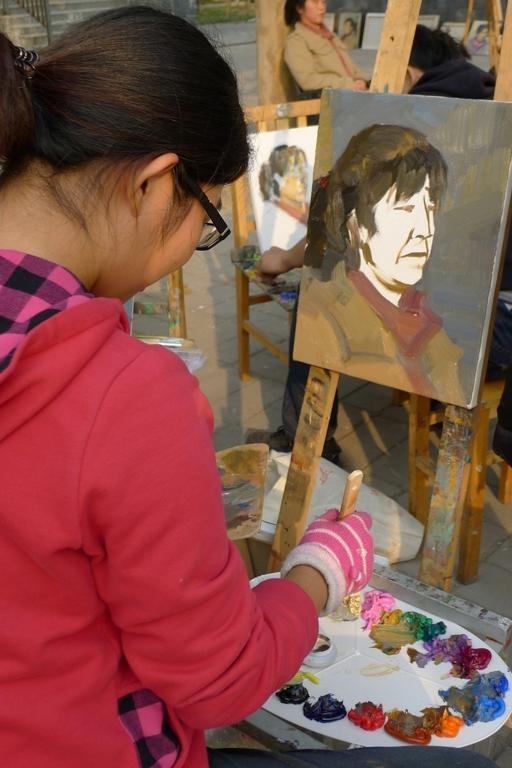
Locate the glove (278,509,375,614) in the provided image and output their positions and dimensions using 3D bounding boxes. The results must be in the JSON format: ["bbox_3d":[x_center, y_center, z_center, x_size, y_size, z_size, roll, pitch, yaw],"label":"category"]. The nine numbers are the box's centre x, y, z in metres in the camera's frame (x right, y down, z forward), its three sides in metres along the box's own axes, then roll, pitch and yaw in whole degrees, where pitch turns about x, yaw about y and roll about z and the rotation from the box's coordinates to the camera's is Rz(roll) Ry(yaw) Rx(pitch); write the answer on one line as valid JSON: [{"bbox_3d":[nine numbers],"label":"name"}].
[{"bbox_3d":[0.111,0.256,0.963,0.095,0.068,0.162,40,26,-4],"label":"glove"}]
